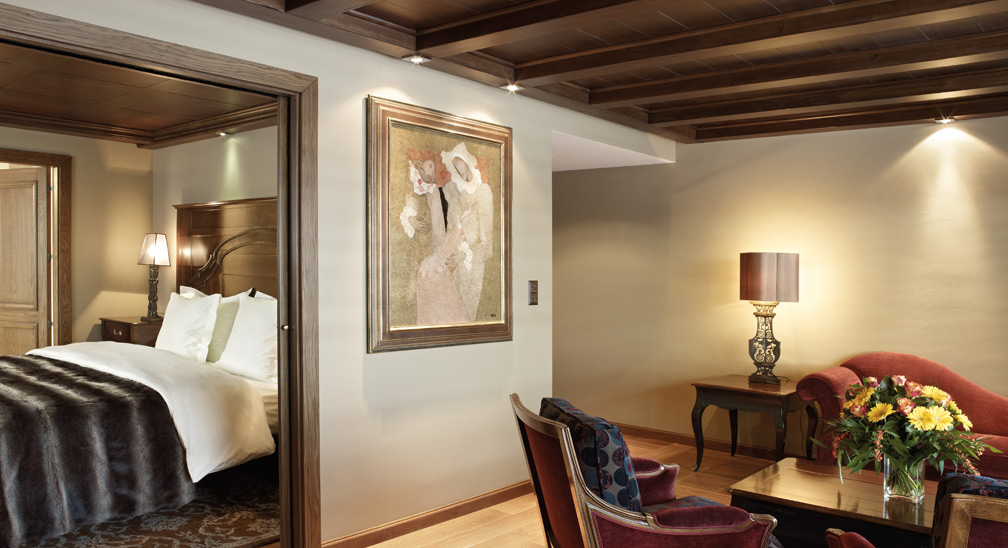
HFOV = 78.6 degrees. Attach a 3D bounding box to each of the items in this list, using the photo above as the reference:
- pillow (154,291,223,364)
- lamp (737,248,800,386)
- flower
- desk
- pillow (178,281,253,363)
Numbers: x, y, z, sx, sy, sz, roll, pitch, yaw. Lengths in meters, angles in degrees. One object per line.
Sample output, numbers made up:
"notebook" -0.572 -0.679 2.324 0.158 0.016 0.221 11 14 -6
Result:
"pillow" -3.212 0.538 6.295 0.783 0.640 0.227 3 -16 35
"lamp" 2.779 0.447 6.489 0.575 1.356 0.414 1 1 10
"flower" 3.103 1.073 4.646 1.117 0.708 1.116 4 4 33
"desk" 2.712 1.631 6.649 0.939 0.881 1.222 -1 -5 40
"pillow" -2.799 0.515 6.356 0.814 0.760 0.209 5 -11 30
